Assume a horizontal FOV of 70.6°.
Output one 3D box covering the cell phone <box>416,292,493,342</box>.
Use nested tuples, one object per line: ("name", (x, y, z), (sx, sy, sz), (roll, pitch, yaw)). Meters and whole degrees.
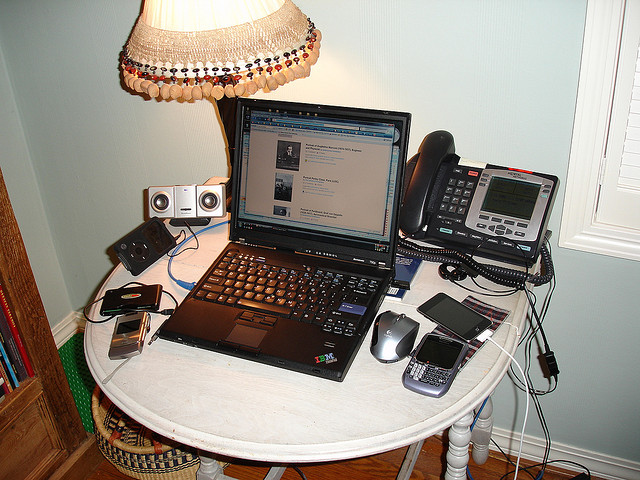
("cell phone", (0.344, 0.202, 1.163), (0.090, 0.016, 0.153), (-30, 40, -34))

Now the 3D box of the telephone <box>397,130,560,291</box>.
("telephone", (0.422, -0.105, 1.274), (0.399, 0.169, 0.527), (-32, 45, -21))

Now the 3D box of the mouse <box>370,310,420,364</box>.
("mouse", (0.182, 0.231, 1.122), (0.109, 0.053, 0.164), (7, 37, 28))

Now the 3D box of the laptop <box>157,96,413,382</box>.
("laptop", (-0.073, -0.041, 1.151), (0.522, 0.571, 0.413), (13, 24, 14))

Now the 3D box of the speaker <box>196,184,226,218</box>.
("speaker", (-0.354, -0.138, 1.489), (0.104, 0.103, 0.095), (-5, 14, -32))

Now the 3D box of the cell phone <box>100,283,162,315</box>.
("cell phone", (-0.516, 0.160, 1.240), (0.137, 0.024, 0.079), (-7, 49, 4))

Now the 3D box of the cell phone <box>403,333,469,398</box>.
("cell phone", (0.269, 0.293, 1.064), (0.114, 0.031, 0.185), (6, 33, 32))

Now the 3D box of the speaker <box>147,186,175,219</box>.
("speaker", (-0.511, -0.124, 1.458), (0.091, 0.104, 0.096), (0, 6, -11))

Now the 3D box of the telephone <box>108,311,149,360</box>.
("telephone", (-0.486, 0.244, 1.161), (0.091, 0.035, 0.141), (-13, 40, -6))

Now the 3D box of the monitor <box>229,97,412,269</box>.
("monitor", (-0.001, -0.151, 1.263), (0.426, 0.358, 0.036), (10, 15, 9))

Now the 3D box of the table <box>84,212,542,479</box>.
("table", (-0.046, 0.231, 1.155), (1.206, 0.268, 0.591), (8, 24, 1))
